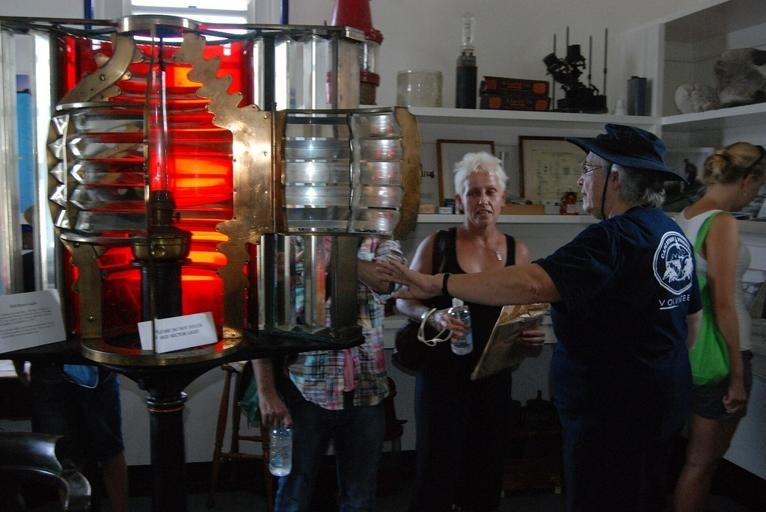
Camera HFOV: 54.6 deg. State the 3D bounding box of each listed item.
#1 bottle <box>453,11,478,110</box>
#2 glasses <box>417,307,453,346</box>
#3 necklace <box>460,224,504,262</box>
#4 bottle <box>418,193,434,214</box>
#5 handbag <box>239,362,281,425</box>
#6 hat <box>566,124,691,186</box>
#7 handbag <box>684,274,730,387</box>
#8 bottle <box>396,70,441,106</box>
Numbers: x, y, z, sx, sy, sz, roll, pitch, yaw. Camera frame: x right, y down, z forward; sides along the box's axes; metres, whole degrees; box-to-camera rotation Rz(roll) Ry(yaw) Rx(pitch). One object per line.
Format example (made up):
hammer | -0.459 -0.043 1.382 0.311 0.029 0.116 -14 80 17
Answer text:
bottle | 0.426 -0.993 3.789 0.115 0.487 0.281 -1 7 6
glasses | 0.202 0.282 2.941 0.136 0.145 0.056 6 23 23
necklace | 0.429 -0.059 3.150 0.216 0.125 0.130 9 -9 -10
bottle | 0.225 -0.270 3.774 0.142 0.103 0.121 0 7 -2
handbag | -0.476 0.489 2.722 0.114 0.159 0.127 -16 -8 -1
hat | 0.859 -0.392 2.637 0.478 0.108 0.382 11 18 -16
handbag | 1.343 0.330 3.165 0.242 0.449 0.160 -4 4 -6
bottle | 0.220 -0.850 3.776 0.292 0.163 0.255 -2 14 -10
